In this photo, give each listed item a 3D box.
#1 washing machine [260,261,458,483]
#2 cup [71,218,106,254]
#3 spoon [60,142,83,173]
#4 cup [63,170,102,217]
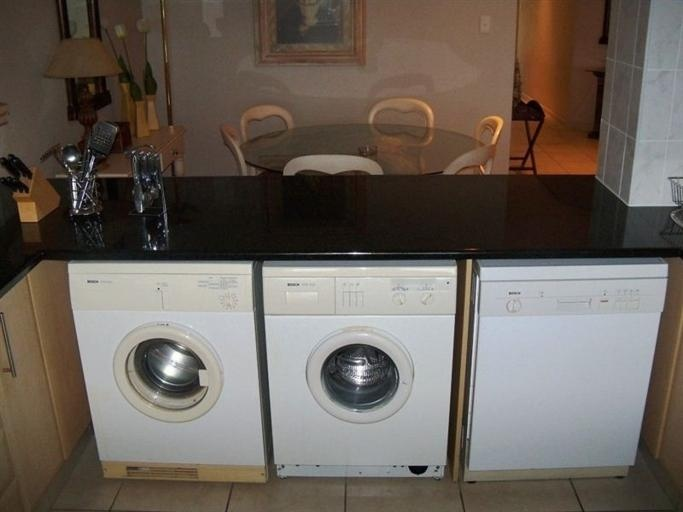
[{"bbox_3d":[0.060,0.360,2.422,0.783,1.192,0.774,-1,31,2],"label":"washing machine"},{"bbox_3d":[-1.006,-0.073,2.182,0.106,0.120,0.200,4,3,-25],"label":"cup"},{"bbox_3d":[-1.167,-0.432,2.367,0.094,0.132,0.050,-1,-4,-19],"label":"spoon"},{"bbox_3d":[-1.131,-0.268,2.400,0.133,0.183,0.095,-4,14,-14],"label":"cup"}]
